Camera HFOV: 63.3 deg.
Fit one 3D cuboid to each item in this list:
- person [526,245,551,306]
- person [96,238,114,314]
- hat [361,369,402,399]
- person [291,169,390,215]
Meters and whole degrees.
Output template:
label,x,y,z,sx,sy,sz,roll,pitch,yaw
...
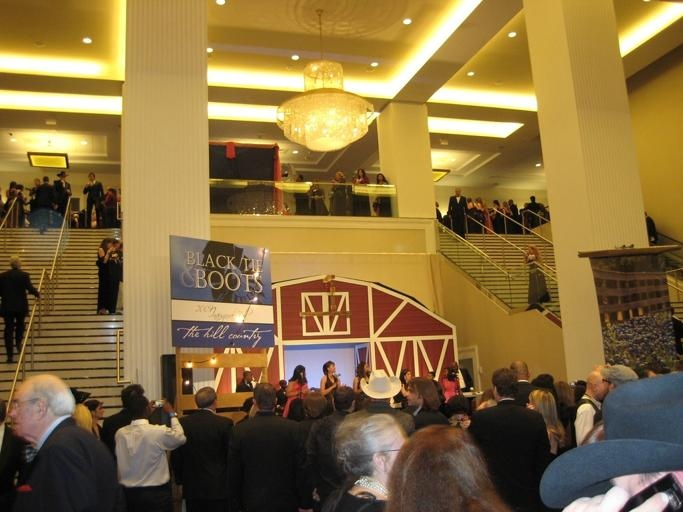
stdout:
label,x,y,z,sx,sy,sz,roll,pitch,yaw
person,4.472,0.571,12.731,0.349,1.421,0.518,1,-12,-13
person,-4.733,0.402,11.005,0.268,1.548,0.600,4,-13,-23
hat,0.353,1.188,5.070,0.269,0.123,0.337,-3,8,0
person,-0.019,-1.786,15.732,2.299,0.795,0.659,1,-16,-21
